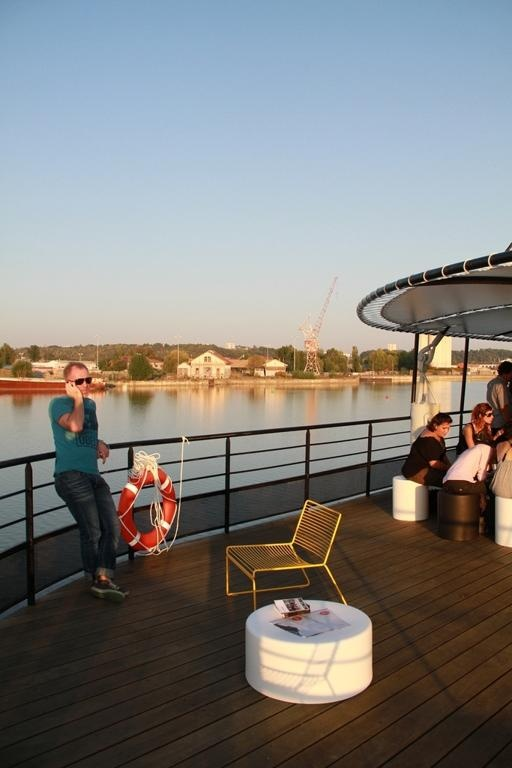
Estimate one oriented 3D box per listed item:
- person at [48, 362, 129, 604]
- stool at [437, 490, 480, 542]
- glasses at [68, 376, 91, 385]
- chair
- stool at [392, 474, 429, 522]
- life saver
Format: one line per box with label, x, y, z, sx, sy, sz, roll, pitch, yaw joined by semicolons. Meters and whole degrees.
person;-1.115;0.619;3.618;0.511;1.555;0.494;3;-5;-39
stool;1.878;1.222;5.114;0.363;0.457;0.202;-1;-4;16
glasses;-1.113;-0.017;3.512;0.124;0.044;0.098;3;7;39
chair;0.179;1.131;3.717;0.770;0.766;0.697;0;1;-22
stool;1.603;1.222;5.922;0.395;0.465;0.406;0;0;11
life saver;-0.887;0.990;4.276;0.393;0.688;0.411;3;4;-32
